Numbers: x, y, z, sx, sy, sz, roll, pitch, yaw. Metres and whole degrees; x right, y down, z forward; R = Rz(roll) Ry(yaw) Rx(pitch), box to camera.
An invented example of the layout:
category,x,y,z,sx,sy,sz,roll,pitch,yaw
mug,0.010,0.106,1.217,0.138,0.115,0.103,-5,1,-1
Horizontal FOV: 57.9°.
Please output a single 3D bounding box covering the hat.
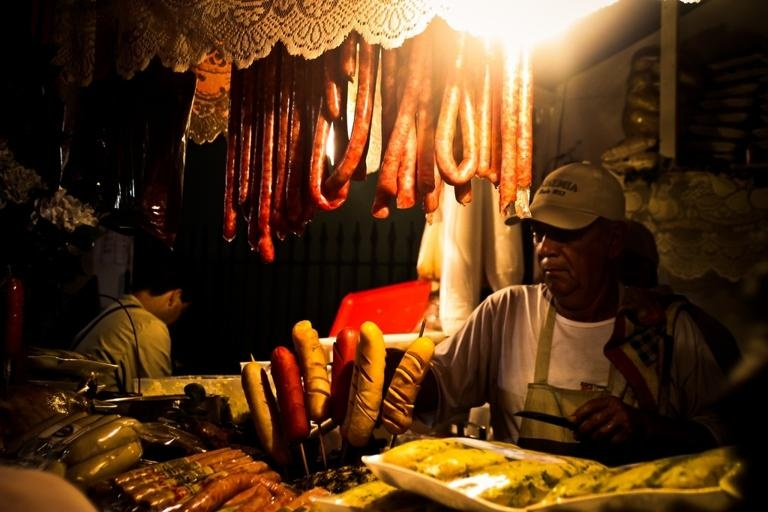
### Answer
category,x,y,z,sx,sy,sz,roll,pitch,yaw
hat,1.082,-0.300,3.966,0.451,0.313,0.388,5,-2,-3
